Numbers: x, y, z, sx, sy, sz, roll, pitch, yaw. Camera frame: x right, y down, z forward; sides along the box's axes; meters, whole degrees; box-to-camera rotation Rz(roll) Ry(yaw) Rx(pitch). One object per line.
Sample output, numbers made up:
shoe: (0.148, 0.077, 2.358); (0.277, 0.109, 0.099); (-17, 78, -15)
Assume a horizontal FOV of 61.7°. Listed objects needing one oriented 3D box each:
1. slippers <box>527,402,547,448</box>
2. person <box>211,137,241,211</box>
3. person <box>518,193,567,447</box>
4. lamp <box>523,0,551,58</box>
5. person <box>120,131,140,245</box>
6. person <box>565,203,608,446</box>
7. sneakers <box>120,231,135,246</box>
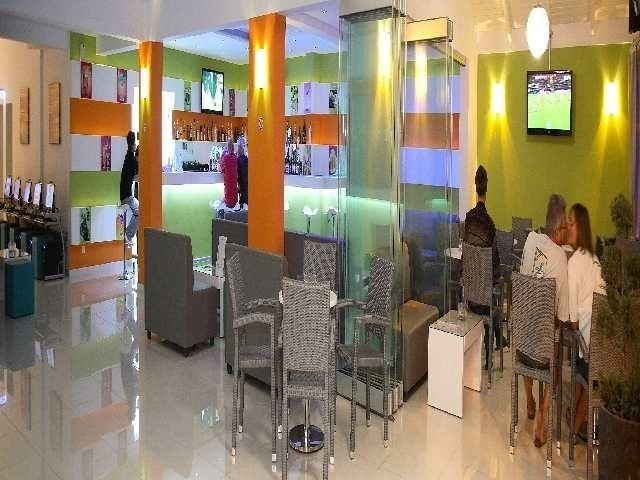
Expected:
slippers: (2.189, 1.827, 5.397); (0.131, 0.203, 0.473); (-2, 33, 19)
person: (-1.744, -1.145, 10.027); (0.438, 1.479, 1.301); (-2, 15, -10)
person: (2.277, 0.754, 5.425); (0.406, 2.341, 0.875); (2, 14, 7)
lamp: (2.659, -2.544, 6.502); (0.251, 0.588, 0.284); (6, 15, 24)
person: (-3.457, -0.902, 9.768); (0.354, 2.067, 0.640); (-5, 15, -21)
person: (2.569, 0.830, 5.300); (0.385, 2.184, 1.095); (7, 15, 25)
sneakers: (-3.655, -0.013, 10.250); (0.172, 0.234, 0.480); (-1, 1, -37)
